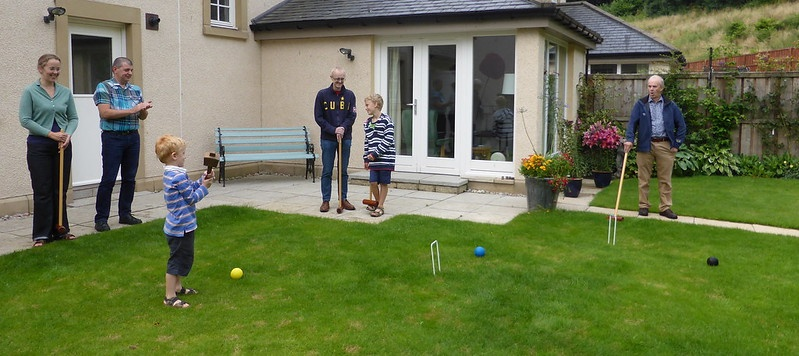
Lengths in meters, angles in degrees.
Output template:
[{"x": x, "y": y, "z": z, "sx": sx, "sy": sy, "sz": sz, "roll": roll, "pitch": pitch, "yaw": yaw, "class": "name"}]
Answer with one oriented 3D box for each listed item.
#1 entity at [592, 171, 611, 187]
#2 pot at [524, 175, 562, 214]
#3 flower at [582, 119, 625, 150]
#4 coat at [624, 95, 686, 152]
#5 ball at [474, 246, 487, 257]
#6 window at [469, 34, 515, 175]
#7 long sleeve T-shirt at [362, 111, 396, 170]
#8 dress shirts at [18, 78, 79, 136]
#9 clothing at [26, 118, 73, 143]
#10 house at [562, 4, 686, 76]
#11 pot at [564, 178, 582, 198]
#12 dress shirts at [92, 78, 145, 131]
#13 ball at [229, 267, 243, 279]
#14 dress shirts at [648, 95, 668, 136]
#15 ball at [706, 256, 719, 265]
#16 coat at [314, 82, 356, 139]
[{"x": 5.783, "y": 0.036, "z": 16.730, "sx": 0.496, "sy": 0.320, "sz": 0.463, "roll": 0, "pitch": 0, "yaw": 4, "class": "entity"}, {"x": 3.488, "y": 0.415, "z": 14.453, "sx": 0.892, "sy": 0.600, "sz": 0.812, "roll": 0, "pitch": -2, "yaw": 0, "class": "pot"}, {"x": 5.968, "y": -1.231, "z": 17.091, "sx": 1.006, "sy": 0.910, "sz": 1.004, "roll": 3, "pitch": 9, "yaw": 32, "class": "flower"}, {"x": 6.253, "y": -1.373, "z": 14.382, "sx": 1.532, "sy": 1.254, "sz": 0.808, "roll": 1, "pitch": 1, "yaw": 9, "class": "coat"}, {"x": 1.702, "y": 1.521, "z": 12.383, "sx": 0.213, "sy": 0.192, "sz": 0.195, "roll": -2, "pitch": 41, "yaw": 1, "class": "ball"}, {"x": 2.552, "y": -2.145, "z": 16.043, "sx": 1.121, "sy": 3.320, "sz": 0.648, "roll": 2, "pitch": 12, "yaw": 4, "class": "window"}, {"x": -0.475, "y": -0.848, "z": 13.989, "sx": 0.684, "sy": 1.287, "sz": 0.389, "roll": 1, "pitch": 12, "yaw": 0, "class": "long sleeve T-shirt"}, {"x": -7.606, "y": -1.508, "z": 12.795, "sx": 0.767, "sy": 1.150, "sz": 1.223, "roll": 9, "pitch": 6, "yaw": 34, "class": "dress shirts"}, {"x": -7.515, "y": -0.981, "z": 12.693, "sx": 0.741, "sy": 0.336, "sz": 0.551, "roll": 10, "pitch": -4, "yaw": -8, "class": "clothing"}, {"x": 8.744, "y": -5.248, "z": 23.032, "sx": 4.646, "sy": 2.092, "sz": 5.033, "roll": 2, "pitch": 7, "yaw": 24, "class": "house"}, {"x": 4.606, "y": 0.249, "z": 15.592, "sx": 0.632, "sy": 0.487, "sz": 0.589, "roll": 0, "pitch": 5, "yaw": 0, "class": "pot"}, {"x": -6.273, "y": -1.617, "z": 13.177, "sx": 0.954, "sy": 1.132, "sz": 0.321, "roll": -4, "pitch": 13, "yaw": -24, "class": "dress shirts"}, {"x": -3.264, "y": 1.883, "z": 11.752, "sx": 0.218, "sy": 0.155, "sz": 0.208, "roll": 2, "pitch": 30, "yaw": -1, "class": "ball"}, {"x": 6.258, "y": -1.423, "z": 14.245, "sx": 0.558, "sy": 0.773, "sz": 0.331, "roll": -2, "pitch": 4, "yaw": 6, "class": "dress shirts"}, {"x": 6.489, "y": 1.707, "z": 12.152, "sx": 0.193, "sy": 0.171, "sz": 0.184, "roll": -4, "pitch": 14, "yaw": 1, "class": "ball"}, {"x": -1.557, "y": -1.571, "z": 14.260, "sx": 0.927, "sy": 1.316, "sz": 0.535, "roll": 0, "pitch": 12, "yaw": -5, "class": "coat"}]
